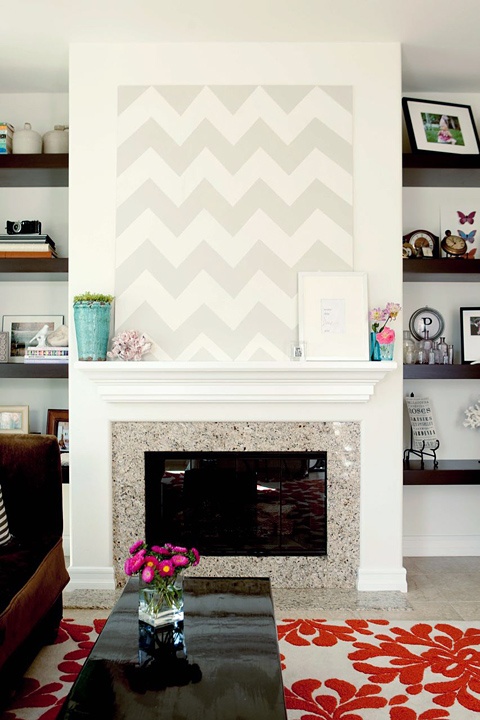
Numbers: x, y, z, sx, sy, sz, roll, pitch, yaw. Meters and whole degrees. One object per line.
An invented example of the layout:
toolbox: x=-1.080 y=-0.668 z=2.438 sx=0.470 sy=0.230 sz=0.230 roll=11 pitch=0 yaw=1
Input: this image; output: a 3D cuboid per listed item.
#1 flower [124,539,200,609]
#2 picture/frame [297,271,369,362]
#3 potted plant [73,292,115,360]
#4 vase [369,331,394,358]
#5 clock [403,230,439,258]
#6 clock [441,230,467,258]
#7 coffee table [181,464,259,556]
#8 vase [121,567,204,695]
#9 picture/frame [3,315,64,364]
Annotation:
flower: x=-0.238 y=0.689 z=1.888 sx=0.198 sy=0.228 sz=0.210 roll=1 pitch=-42 yaw=-10
picture/frame: x=0.469 y=-0.202 z=3.031 sx=0.390 sy=0.539 sz=0.022 roll=0 pitch=-4 yaw=-3
potted plant: x=-0.729 y=-0.159 z=2.996 sx=0.182 sy=0.337 sz=0.156 roll=1 pitch=0 yaw=-5
vase: x=0.701 y=-0.072 z=3.017 sx=0.127 sy=0.207 sz=0.119 roll=0 pitch=0 yaw=1
clock: x=1.037 y=-0.663 z=3.466 sx=0.263 sy=0.163 sz=0.120 roll=1 pitch=0 yaw=-12
clock: x=1.234 y=-0.664 z=3.511 sx=0.134 sy=0.152 sz=0.200 roll=1 pitch=1 yaw=19
coffee table: x=-0.110 y=0.777 z=3.034 sx=0.393 sy=0.485 sz=0.105 roll=3 pitch=0 yaw=-3
vase: x=-0.205 y=0.796 z=1.903 sx=0.211 sy=0.354 sz=0.228 roll=-1 pitch=-14 yaw=-12
picture/frame: x=-1.211 y=-0.109 z=3.512 sx=0.244 sy=0.221 sz=0.011 roll=-2 pitch=-5 yaw=4
